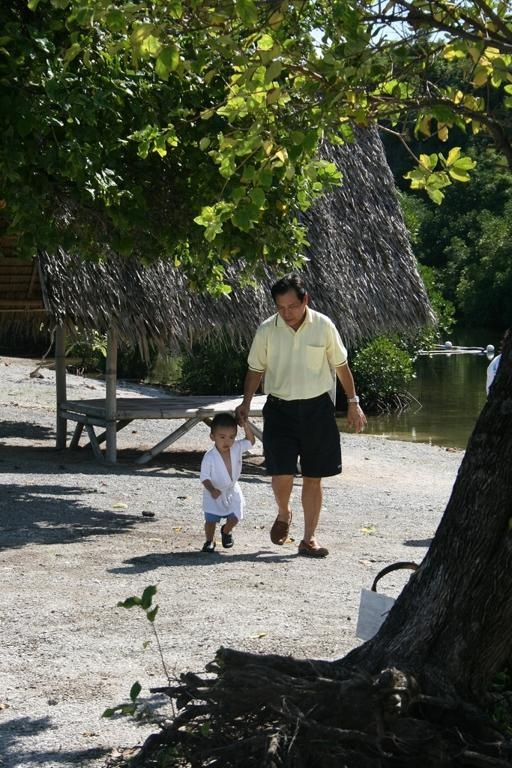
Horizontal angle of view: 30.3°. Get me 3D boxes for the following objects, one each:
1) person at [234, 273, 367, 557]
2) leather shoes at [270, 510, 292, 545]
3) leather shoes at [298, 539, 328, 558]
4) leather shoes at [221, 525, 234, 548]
[{"bbox_3d":[0.282,0.197,5.984,0.810,1.717,0.541,4,4,5],"label":"person"},{"bbox_3d":[0.167,0.890,6.020,0.095,0.230,0.081,8,-35,12],"label":"leather shoes"},{"bbox_3d":[0.353,1.018,5.916,0.198,0.081,0.083,1,2,39],"label":"leather shoes"},{"bbox_3d":[-0.175,0.955,6.008,0.059,0.142,0.047,-7,-1,-32],"label":"leather shoes"}]
